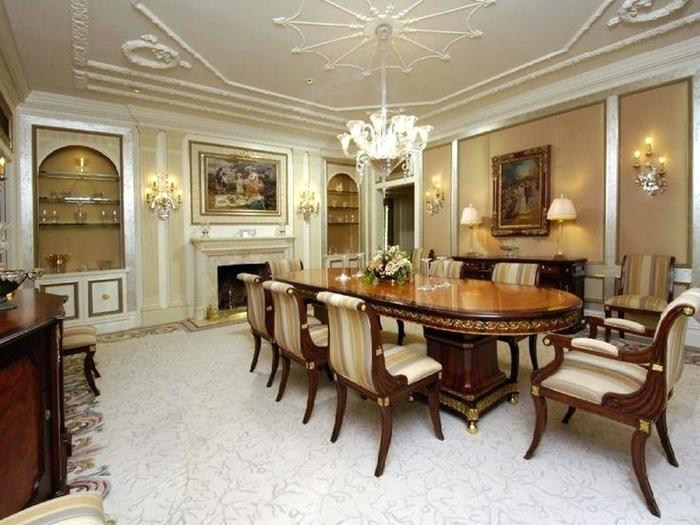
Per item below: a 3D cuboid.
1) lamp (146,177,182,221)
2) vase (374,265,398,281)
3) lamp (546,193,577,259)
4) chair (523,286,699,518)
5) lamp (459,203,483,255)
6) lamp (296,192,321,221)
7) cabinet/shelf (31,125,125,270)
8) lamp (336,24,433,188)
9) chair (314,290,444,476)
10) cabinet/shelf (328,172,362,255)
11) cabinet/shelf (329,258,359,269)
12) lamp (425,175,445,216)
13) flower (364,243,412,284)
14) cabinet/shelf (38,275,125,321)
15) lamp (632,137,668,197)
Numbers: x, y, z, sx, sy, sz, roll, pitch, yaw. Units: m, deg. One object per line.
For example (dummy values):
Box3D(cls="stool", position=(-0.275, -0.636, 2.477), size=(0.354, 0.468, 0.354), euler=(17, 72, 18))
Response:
Box3D(cls="lamp", position=(-2.771, -0.950, 6.785), size=(0.149, 0.898, 0.619), euler=(2, 3, 39))
Box3D(cls="vase", position=(0.361, 0.108, 4.699), size=(0.167, 0.081, 0.164), euler=(8, -5, 43))
Box3D(cls="lamp", position=(2.789, -0.486, 6.037), size=(0.359, 0.827, 0.538), euler=(0, 5, 24))
Box3D(cls="chair", position=(1.972, 0.968, 3.468), size=(1.054, 1.526, 0.566), euler=(1, 6, 35))
Box3D(cls="lamp", position=(1.889, -0.522, 7.105), size=(0.335, 0.775, 0.573), euler=(-1, 5, 13))
Box3D(cls="lamp", position=(-0.777, -1.016, 8.264), size=(0.513, 0.739, 0.211), euler=(-2, 1, -43))
Box3D(cls="cabinet/shelf", position=(-3.723, -0.858, 6.355), size=(1.140, 1.915, 0.347), euler=(-5, 6, -28))
Box3D(cls="lamp", position=(0.482, -2.060, 5.887), size=(1.311, 2.541, 1.372), euler=(0, -4, -4))
Box3D(cls="chair", position=(0.150, 0.832, 4.260), size=(1.275, 1.858, 1.083), euler=(-6, 7, -36))
Box3D(cls="cabinet/shelf", position=(-0.140, -0.962, 8.979), size=(0.749, 1.514, 0.249), euler=(-6, 7, -42))
Box3D(cls="cabinet/shelf", position=(-0.124, 0.011, 8.764), size=(0.644, 0.174, 0.177), euler=(-5, 6, -39))
Box3D(cls="lamp", position=(1.443, -1.159, 7.821), size=(0.096, 0.676, 0.405), euler=(-5, 6, -29))
Box3D(cls="flower", position=(0.408, 0.028, 4.772), size=(0.377, 0.356, 0.411), euler=(-1, -6, 11))
Box3D(cls="cabinet/shelf", position=(-3.292, 0.418, 5.601), size=(0.585, 0.442, 0.201), euler=(0, -2, -43))
Box3D(cls="lamp", position=(3.553, -1.099, 5.443), size=(0.133, 0.758, 0.397), euler=(-28, 28, -7))
